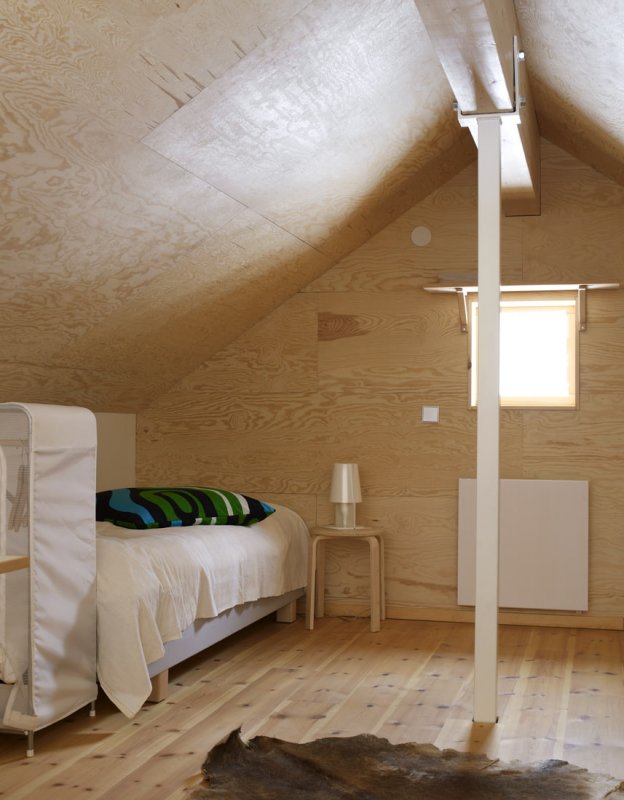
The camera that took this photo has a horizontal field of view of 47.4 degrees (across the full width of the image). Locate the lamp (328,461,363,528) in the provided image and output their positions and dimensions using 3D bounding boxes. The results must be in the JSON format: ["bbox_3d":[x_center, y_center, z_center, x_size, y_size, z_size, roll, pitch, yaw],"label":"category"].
[{"bbox_3d":[0.181,0.511,3.818,0.153,0.345,0.151,-1,-9,8],"label":"lamp"}]

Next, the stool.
[{"bbox_3d":[0.187,0.929,3.808,0.466,0.449,0.436,-7,-14,22],"label":"stool"}]
